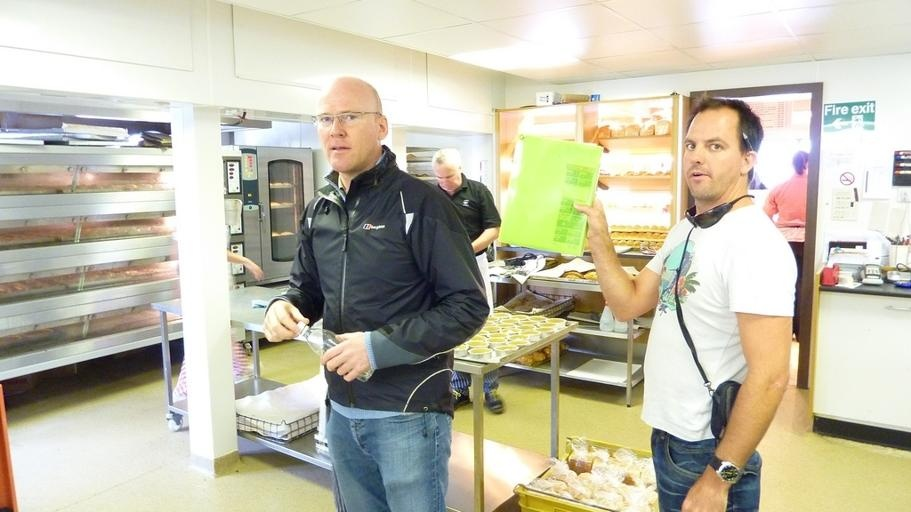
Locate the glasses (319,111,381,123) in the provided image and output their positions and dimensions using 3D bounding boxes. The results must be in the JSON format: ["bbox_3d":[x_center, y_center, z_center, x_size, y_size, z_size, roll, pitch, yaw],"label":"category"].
[{"bbox_3d":[-0.607,-0.794,3.173,0.352,0.068,0.072,-2,11,-8],"label":"glasses"}]

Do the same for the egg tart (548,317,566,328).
[{"bbox_3d":[0.860,0.565,4.706,0.204,0.054,0.182,0,4,3],"label":"egg tart"}]

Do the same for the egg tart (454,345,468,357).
[{"bbox_3d":[0.052,0.688,4.030,0.095,0.033,0.106,1,5,19],"label":"egg tart"}]

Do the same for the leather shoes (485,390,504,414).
[{"bbox_3d":[0.423,1.571,5.901,0.131,0.116,0.324,-2,-1,-16],"label":"leather shoes"}]

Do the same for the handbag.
[{"bbox_3d":[1.327,0.500,2.977,0.150,0.927,0.395,-12,17,-43],"label":"handbag"}]

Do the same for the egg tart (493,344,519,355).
[{"bbox_3d":[0.376,0.686,4.054,0.145,0.024,0.176,3,11,19],"label":"egg tart"}]

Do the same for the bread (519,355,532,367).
[{"bbox_3d":[0.834,1.230,6.470,0.164,0.035,0.133,-19,48,8],"label":"bread"}]

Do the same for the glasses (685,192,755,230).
[{"bbox_3d":[1.450,-0.233,3.032,0.290,0.070,0.218,-25,7,-13],"label":"glasses"}]

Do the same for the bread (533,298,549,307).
[{"bbox_3d":[1.069,0.575,6.803,0.116,0.086,0.094,-16,-5,27],"label":"bread"}]

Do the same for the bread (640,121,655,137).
[{"bbox_3d":[2.382,-1.575,6.866,0.203,0.159,0.192,2,11,31],"label":"bread"}]

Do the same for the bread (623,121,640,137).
[{"bbox_3d":[2.198,-1.589,6.915,0.202,0.120,0.181,-4,8,1],"label":"bread"}]

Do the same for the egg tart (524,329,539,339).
[{"bbox_3d":[0.595,0.614,4.353,0.113,0.013,0.133,2,11,12],"label":"egg tart"}]
